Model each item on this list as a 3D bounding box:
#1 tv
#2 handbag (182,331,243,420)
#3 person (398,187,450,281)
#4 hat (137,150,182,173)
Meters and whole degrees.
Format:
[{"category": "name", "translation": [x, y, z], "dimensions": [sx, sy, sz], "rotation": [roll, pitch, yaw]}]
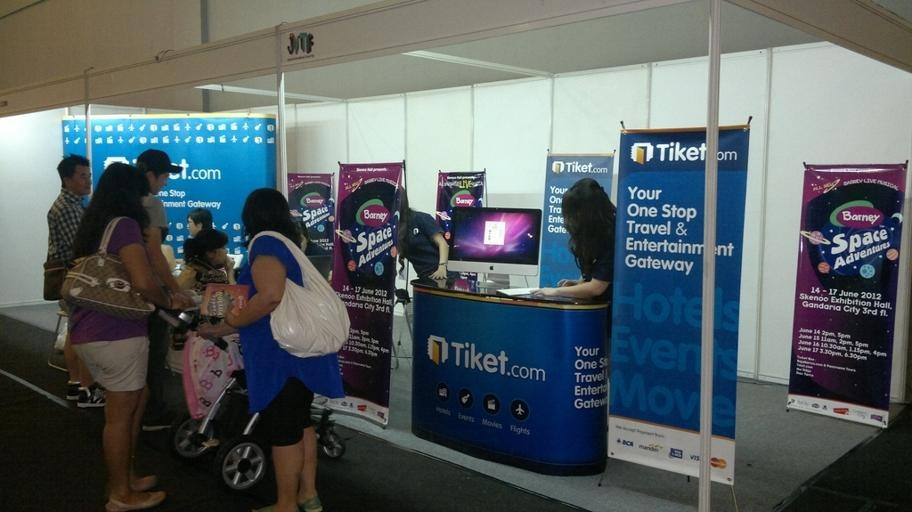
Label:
[{"category": "tv", "translation": [0.377, -0.099, 6.822], "dimensions": [0.987, 0.853, 0.330], "rotation": [3, -1, 15]}, {"category": "handbag", "translation": [-2.275, 1.082, 6.023], "dimensions": [0.685, 0.789, 0.247], "rotation": [-2, -3, -44]}, {"category": "person", "translation": [-0.361, -0.237, 7.174], "dimensions": [0.530, 1.071, 0.971], "rotation": [-1, 10, -4]}, {"category": "hat", "translation": [-2.822, -0.881, 6.215], "dimensions": [0.355, 0.179, 0.234], "rotation": [-6, 16, -27]}]
